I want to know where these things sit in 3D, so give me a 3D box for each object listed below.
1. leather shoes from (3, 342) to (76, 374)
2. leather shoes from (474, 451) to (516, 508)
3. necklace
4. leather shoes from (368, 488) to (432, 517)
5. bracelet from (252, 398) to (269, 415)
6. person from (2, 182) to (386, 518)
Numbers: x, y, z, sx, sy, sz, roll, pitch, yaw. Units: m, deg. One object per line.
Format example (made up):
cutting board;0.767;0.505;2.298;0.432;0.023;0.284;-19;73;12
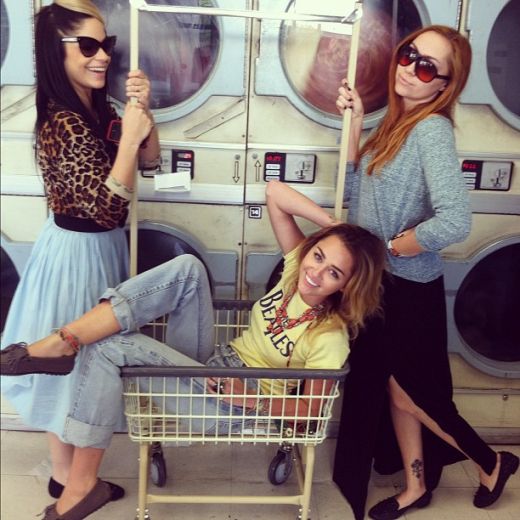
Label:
leather shoes;-0.675;0.319;1.722;0.260;0.089;0.093;7;89;-19
leather shoes;0.923;0.865;2.093;0.100;0.090;0.248;25;103;-5
necklace;0.125;0.160;1.818;0.163;0.122;0.053;-27;126;-2
leather shoes;0.537;0.952;2.099;0.244;0.091;0.086;-5;86;-9
bracelet;-0.002;0.467;1.718;0.049;0.026;0.065;4;78;15
person;-0.148;0.213;2.178;1.460;0.877;1.121;3;98;1
